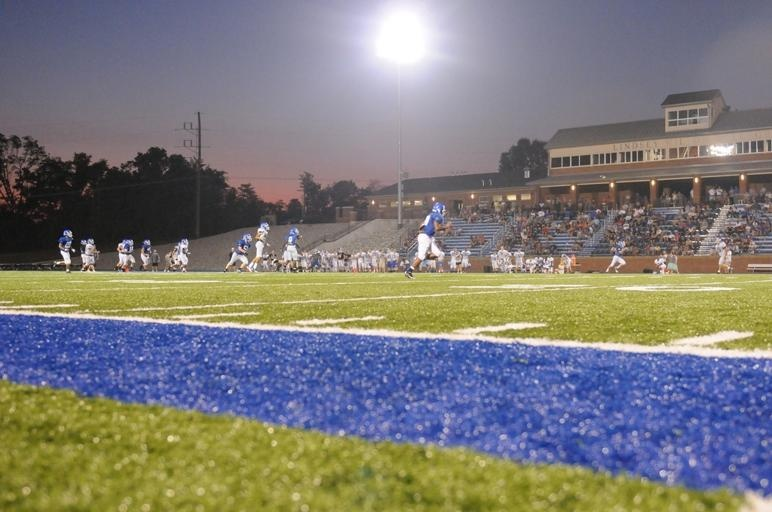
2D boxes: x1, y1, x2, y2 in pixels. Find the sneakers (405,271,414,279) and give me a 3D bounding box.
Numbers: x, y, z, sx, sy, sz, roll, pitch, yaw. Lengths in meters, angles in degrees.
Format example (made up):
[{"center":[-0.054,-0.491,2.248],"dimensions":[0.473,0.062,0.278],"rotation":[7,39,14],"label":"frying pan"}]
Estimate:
[{"center":[0.487,0.396,16.828],"dimensions":[0.199,0.094,0.205],"rotation":[-32,9,17],"label":"sneakers"}]
